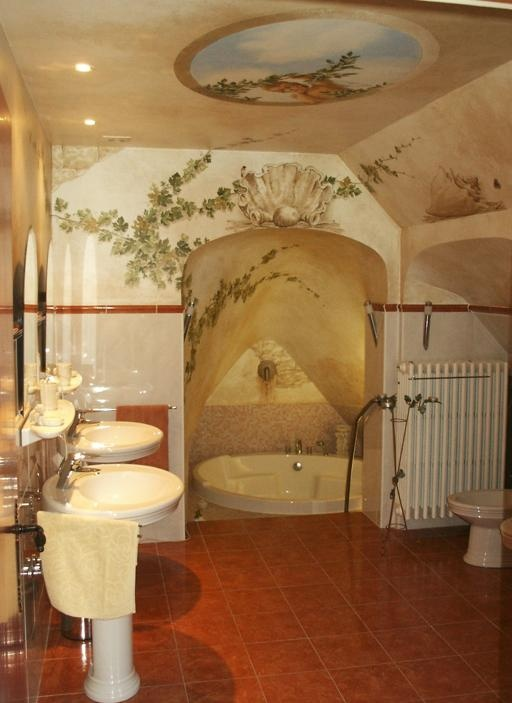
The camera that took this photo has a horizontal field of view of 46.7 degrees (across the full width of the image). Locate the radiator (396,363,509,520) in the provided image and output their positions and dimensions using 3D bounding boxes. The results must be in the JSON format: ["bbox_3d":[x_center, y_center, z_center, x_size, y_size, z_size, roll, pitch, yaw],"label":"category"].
[{"bbox_3d":[1.401,0.624,4.359,0.884,1.052,0.326,1,5,0],"label":"radiator"}]

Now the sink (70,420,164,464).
[{"bbox_3d":[-0.720,0.458,3.053,0.294,0.081,0.315,0,12,-10],"label":"sink"}]

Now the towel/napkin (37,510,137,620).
[{"bbox_3d":[-0.567,0.713,2.018,0.458,0.406,0.047,4,14,-1],"label":"towel/napkin"}]

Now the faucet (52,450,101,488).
[{"bbox_3d":[-0.706,0.454,2.293,0.141,0.049,0.138,-2,28,-18],"label":"faucet"}]

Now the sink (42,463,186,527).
[{"bbox_3d":[-0.536,0.539,2.305,0.352,0.090,0.356,2,12,-3],"label":"sink"}]

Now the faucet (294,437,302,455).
[{"bbox_3d":[0.450,0.980,6.080,0.110,0.186,0.110,2,3,5],"label":"faucet"}]
